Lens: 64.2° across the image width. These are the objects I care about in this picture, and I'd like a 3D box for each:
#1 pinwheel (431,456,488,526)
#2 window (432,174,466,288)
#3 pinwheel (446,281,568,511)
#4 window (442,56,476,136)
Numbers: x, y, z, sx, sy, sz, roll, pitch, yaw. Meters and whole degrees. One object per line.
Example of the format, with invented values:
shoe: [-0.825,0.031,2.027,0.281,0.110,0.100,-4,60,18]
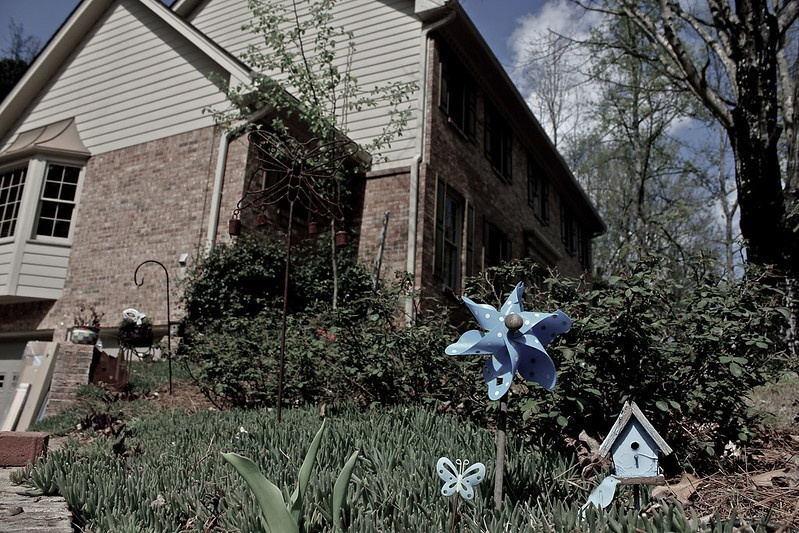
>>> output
pinwheel: [0.535,2.028,5.642,0.485,0.853,0.135,7,-36,9]
window: [1.062,-0.677,13.830,0.277,2.467,1.982,-5,-13,26]
pinwheel: [1.007,1.105,5.610,1.037,1.979,0.583,-4,-17,15]
window: [1.373,-3.944,14.861,0.095,1.395,1.882,-4,-13,22]
